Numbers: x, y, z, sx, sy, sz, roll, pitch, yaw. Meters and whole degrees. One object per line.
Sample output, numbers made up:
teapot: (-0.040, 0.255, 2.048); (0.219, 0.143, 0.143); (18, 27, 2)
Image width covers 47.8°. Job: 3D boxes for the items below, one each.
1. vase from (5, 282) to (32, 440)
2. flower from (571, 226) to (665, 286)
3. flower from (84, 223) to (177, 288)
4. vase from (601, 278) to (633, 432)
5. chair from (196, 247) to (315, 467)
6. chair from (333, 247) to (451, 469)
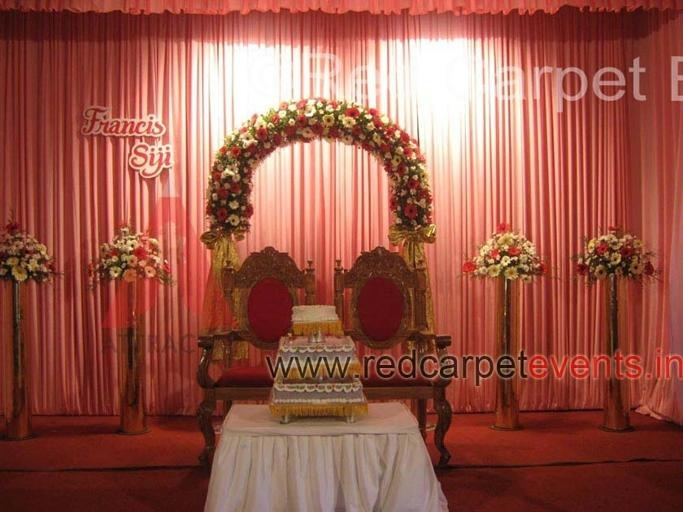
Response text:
vase: (-2.920, 0.924, 6.860); (0.220, 1.384, 0.350); (-4, 9, -24)
flower: (2.555, 0.026, 7.347); (0.564, 0.419, 0.607); (2, -2, 1)
flower: (-2.081, 0.021, 7.397); (0.734, 0.570, 0.662); (3, 10, 20)
vase: (2.538, 0.890, 7.068); (0.250, 1.371, 0.414); (2, 9, 18)
chair: (-0.687, 0.810, 6.541); (0.935, 1.752, 0.959); (0, -1, -5)
chair: (0.363, 0.800, 6.453); (1.058, 1.761, 1.081); (-2, -1, 15)
